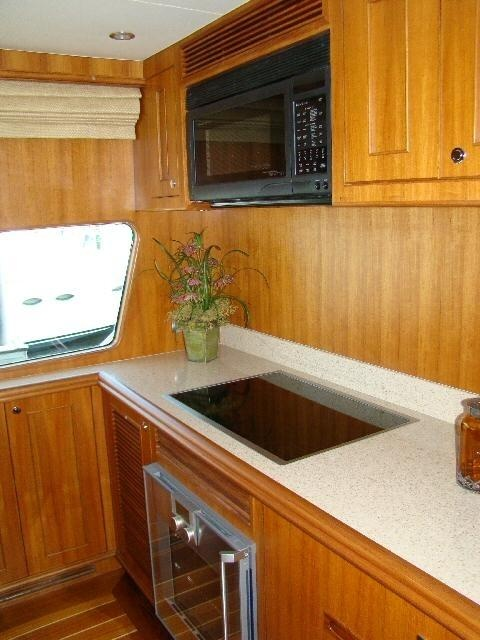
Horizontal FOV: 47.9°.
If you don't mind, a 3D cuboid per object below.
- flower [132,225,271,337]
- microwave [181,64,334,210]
[{"bbox_3d":[-0.157,-0.169,2.371,0.394,0.442,0.508,-8,11,-29],"label":"flower"},{"bbox_3d":[0.123,-0.533,1.644,0.265,0.342,0.702,-10,16,-33],"label":"microwave"}]
